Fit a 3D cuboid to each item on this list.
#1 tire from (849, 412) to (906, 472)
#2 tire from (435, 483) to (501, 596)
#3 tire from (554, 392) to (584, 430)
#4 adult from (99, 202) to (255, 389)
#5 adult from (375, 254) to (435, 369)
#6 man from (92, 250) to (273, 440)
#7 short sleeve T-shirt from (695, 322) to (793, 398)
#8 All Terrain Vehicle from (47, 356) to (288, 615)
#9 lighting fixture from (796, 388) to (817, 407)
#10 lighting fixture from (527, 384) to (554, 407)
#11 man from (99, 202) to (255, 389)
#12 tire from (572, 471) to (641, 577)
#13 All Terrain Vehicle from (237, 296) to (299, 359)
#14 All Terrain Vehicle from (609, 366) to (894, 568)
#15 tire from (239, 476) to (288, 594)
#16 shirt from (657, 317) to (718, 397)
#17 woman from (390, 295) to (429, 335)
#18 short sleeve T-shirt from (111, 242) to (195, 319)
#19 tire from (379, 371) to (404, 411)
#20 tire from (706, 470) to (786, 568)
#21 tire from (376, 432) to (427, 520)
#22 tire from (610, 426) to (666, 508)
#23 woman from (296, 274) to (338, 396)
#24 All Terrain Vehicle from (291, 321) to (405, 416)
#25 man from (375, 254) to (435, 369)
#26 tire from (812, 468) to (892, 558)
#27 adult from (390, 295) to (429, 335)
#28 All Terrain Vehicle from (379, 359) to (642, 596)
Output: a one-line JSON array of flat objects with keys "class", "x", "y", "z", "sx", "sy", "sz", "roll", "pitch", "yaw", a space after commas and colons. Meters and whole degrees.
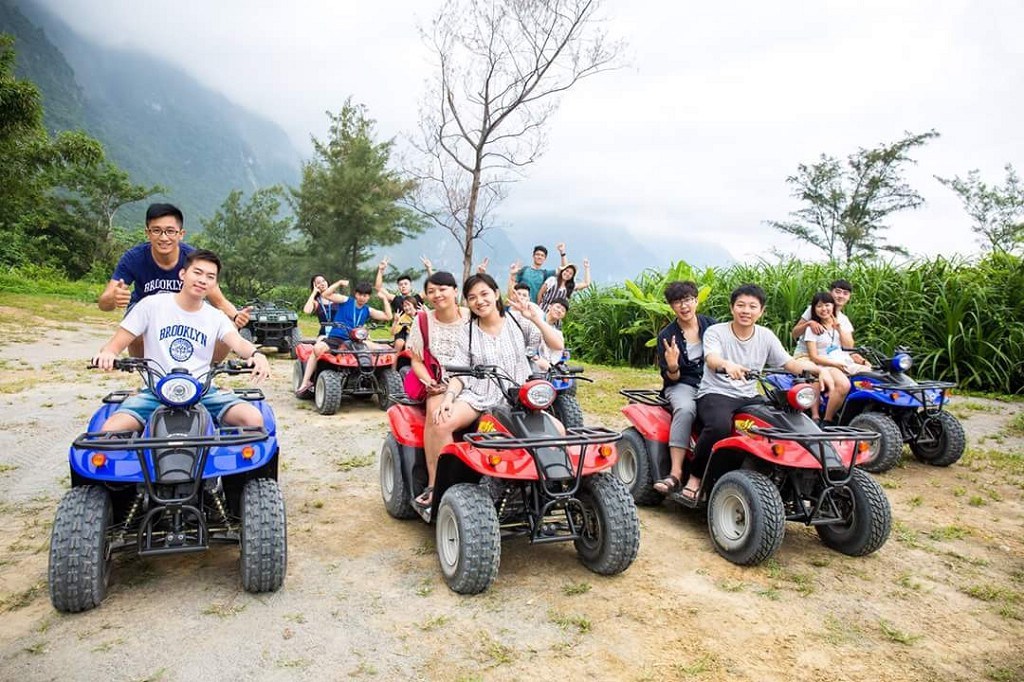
[{"class": "tire", "x": 3.751, "y": 1.040, "z": 7.000, "sx": 0.220, "sy": 0.713, "sz": 0.659, "roll": 0, "pitch": 0, "yaw": -21}, {"class": "tire", "x": -0.333, "y": 1.512, "z": 5.221, "sx": 0.310, "sy": 0.801, "sz": 0.556, "roll": -1, "pitch": 5, "yaw": -28}, {"class": "tire", "x": 0.621, "y": 0.786, "z": 7.618, "sx": 0.188, "sy": 0.560, "sz": 0.542, "roll": -1, "pitch": -3, "yaw": -18}, {"class": "adult", "x": -3.000, "y": -0.308, "z": 6.246, "sx": 1.349, "sy": 1.808, "sz": 1.130, "roll": 4, "pitch": 20, "yaw": -7}, {"class": "adult", "x": -1.674, "y": -0.363, "z": 11.315, "sx": 1.049, "sy": 2.095, "sz": 0.668, "roll": -2, "pitch": -9, "yaw": -24}, {"class": "man", "x": -2.569, "y": 0.082, "z": 5.450, "sx": 1.268, "sy": 1.603, "sz": 0.885, "roll": 6, "pitch": 2, "yaw": -30}, {"class": "short sleeve T-shirt", "x": 2.176, "y": 0.167, "z": 6.445, "sx": 0.927, "sy": 0.760, "sz": 0.634, "roll": 1, "pitch": -7, "yaw": 2}, {"class": "All Terrain Vehicle", "x": -2.496, "y": 1.019, "z": 5.084, "sx": 1.555, "sy": 1.762, "sz": 0.675, "roll": 0, "pitch": 4, "yaw": -12}, {"class": "lighting fixture", "x": 2.480, "y": 0.468, "z": 5.736, "sx": 0.081, "sy": 0.154, "sz": 0.131, "roll": 18, "pitch": 5, "yaw": 39}, {"class": "lighting fixture", "x": 0.230, "y": 0.420, "z": 5.298, "sx": 0.236, "sy": 0.209, "sz": 0.076, "roll": 0, "pitch": 4, "yaw": -20}, {"class": "man", "x": -2.990, "y": -0.298, "z": 6.231, "sx": 1.338, "sy": 1.785, "sz": 1.087, "roll": 3, "pitch": 17, "yaw": -8}, {"class": "tire", "x": 0.718, "y": 1.456, "z": 5.333, "sx": 0.253, "sy": 0.756, "sz": 0.732, "roll": 2, "pitch": -10, "yaw": -25}, {"class": "All Terrain Vehicle", "x": -5.556, "y": -0.218, "z": 15.892, "sx": 1.609, "sy": 1.595, "sz": 3.149, "roll": 1, "pitch": -1, "yaw": -20}, {"class": "All Terrain Vehicle", "x": 2.010, "y": 1.031, "z": 6.405, "sx": 1.415, "sy": 1.657, "sz": 2.450, "roll": 1, "pitch": 1, "yaw": -29}, {"class": "tire", "x": -1.848, "y": 1.450, "z": 5.009, "sx": 0.305, "sy": 0.826, "sz": 0.795, "roll": 1, "pitch": -2, "yaw": -17}, {"class": "shirt", "x": 1.717, "y": 0.150, "z": 6.546, "sx": 0.701, "sy": 0.775, "sz": 0.436, "roll": -6, "pitch": -4, "yaw": -15}, {"class": "woman", "x": -1.765, "y": -0.454, "z": 11.343, "sx": 0.821, "sy": 0.875, "sz": 0.337, "roll": 1, "pitch": 9, "yaw": 7}, {"class": "short sleeve T-shirt", "x": -3.096, "y": -0.529, "z": 5.881, "sx": 0.655, "sy": 0.394, "sz": 0.704, "roll": 12, "pitch": -37, "yaw": -36}, {"class": "tire", "x": -1.585, "y": 0.619, "z": 8.892, "sx": 0.226, "sy": 0.558, "sz": 0.538, "roll": 0, "pitch": 1, "yaw": -21}, {"class": "tire", "x": 1.929, "y": 1.451, "z": 5.628, "sx": 0.290, "sy": 0.753, "sz": 0.624, "roll": -1, "pitch": 5, "yaw": -29}, {"class": "tire", "x": -0.980, "y": 1.223, "z": 6.112, "sx": 0.201, "sy": 0.605, "sz": 0.585, "roll": -3, "pitch": 36, "yaw": -22}, {"class": "tire", "x": 1.186, "y": 1.164, "z": 6.265, "sx": 0.247, "sy": 0.747, "sz": 0.718, "roll": -2, "pitch": 11, "yaw": -16}, {"class": "woman", "x": -3.083, "y": -0.137, "z": 11.062, "sx": 0.630, "sy": 1.959, "sz": 0.618, "roll": 0, "pitch": -3, "yaw": -28}, {"class": "All Terrain Vehicle", "x": -2.485, "y": 0.466, "z": 10.134, "sx": 1.051, "sy": 1.078, "sz": 2.020, "roll": 1, "pitch": -2, "yaw": -31}, {"class": "man", "x": -1.682, "y": -0.364, "z": 11.312, "sx": 1.071, "sy": 2.100, "sz": 0.683, "roll": -3, "pitch": -7, "yaw": -26}, {"class": "tire", "x": 2.886, "y": 1.445, "z": 5.732, "sx": 0.533, "sy": 0.743, "sz": 0.275, "roll": 3, "pitch": 5, "yaw": 30}, {"class": "adult", "x": -1.757, "y": -0.465, "z": 11.336, "sx": 0.821, "sy": 0.875, "sz": 0.337, "roll": 1, "pitch": 9, "yaw": 7}, {"class": "All Terrain Vehicle", "x": -0.176, "y": 1.068, "z": 5.994, "sx": 1.340, "sy": 1.539, "sz": 2.275, "roll": 1, "pitch": 0, "yaw": -25}]
